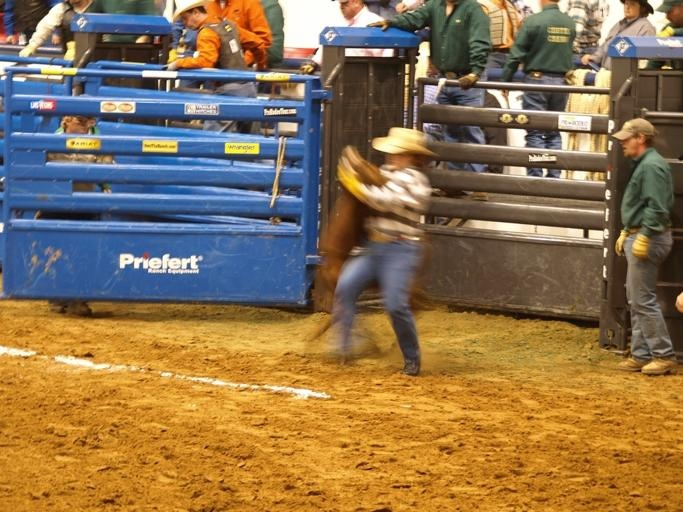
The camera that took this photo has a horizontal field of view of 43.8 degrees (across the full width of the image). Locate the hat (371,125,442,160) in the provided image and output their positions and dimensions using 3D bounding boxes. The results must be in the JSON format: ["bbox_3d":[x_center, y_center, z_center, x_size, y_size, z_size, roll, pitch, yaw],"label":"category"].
[{"bbox_3d":[0.557,-0.934,7.027,0.428,0.109,0.336,2,12,-29],"label":"hat"}]

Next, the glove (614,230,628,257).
[{"bbox_3d":[2.522,-0.122,7.691,0.090,0.190,0.165,17,8,1],"label":"glove"}]

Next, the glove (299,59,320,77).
[{"bbox_3d":[-0.412,-2.532,11.434,0.307,0.169,0.095,-15,1,-17],"label":"glove"}]

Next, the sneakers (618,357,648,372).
[{"bbox_3d":[2.603,0.978,7.636,0.289,0.093,0.096,2,11,6],"label":"sneakers"}]

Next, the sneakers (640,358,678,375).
[{"bbox_3d":[2.798,0.981,7.574,0.353,0.119,0.117,-1,7,-8],"label":"sneakers"}]

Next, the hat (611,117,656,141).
[{"bbox_3d":[2.524,-1.093,7.395,0.353,0.137,0.190,3,5,4],"label":"hat"}]

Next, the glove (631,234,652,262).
[{"bbox_3d":[2.585,-0.087,7.334,0.150,0.221,0.130,7,16,13],"label":"glove"}]

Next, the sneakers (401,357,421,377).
[{"bbox_3d":[0.591,0.946,7.232,0.211,0.148,0.109,1,2,4],"label":"sneakers"}]
